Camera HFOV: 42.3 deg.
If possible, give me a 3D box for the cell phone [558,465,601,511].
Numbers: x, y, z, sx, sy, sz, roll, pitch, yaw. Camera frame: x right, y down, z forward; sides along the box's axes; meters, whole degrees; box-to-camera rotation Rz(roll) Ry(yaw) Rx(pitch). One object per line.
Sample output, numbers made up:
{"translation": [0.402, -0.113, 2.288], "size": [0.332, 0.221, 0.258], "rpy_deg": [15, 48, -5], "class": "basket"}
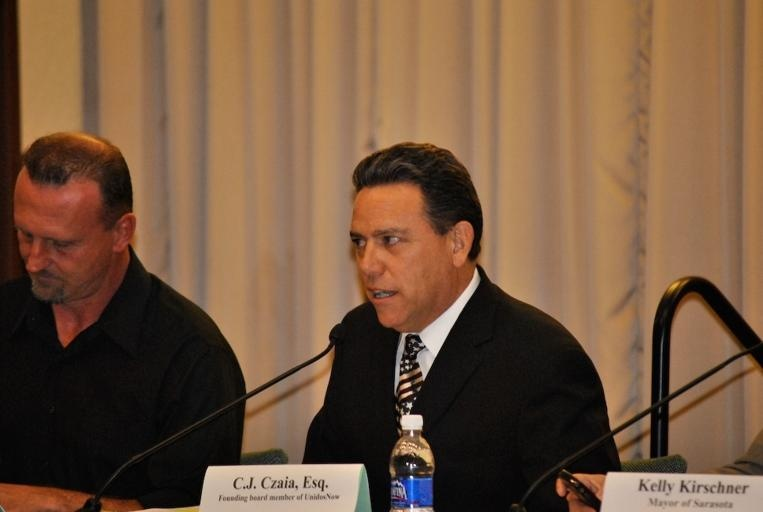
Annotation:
{"translation": [0.696, 0.799, 3.411], "size": [0.032, 0.132, 0.137], "rpy_deg": [-38, -2, -7], "class": "cell phone"}
